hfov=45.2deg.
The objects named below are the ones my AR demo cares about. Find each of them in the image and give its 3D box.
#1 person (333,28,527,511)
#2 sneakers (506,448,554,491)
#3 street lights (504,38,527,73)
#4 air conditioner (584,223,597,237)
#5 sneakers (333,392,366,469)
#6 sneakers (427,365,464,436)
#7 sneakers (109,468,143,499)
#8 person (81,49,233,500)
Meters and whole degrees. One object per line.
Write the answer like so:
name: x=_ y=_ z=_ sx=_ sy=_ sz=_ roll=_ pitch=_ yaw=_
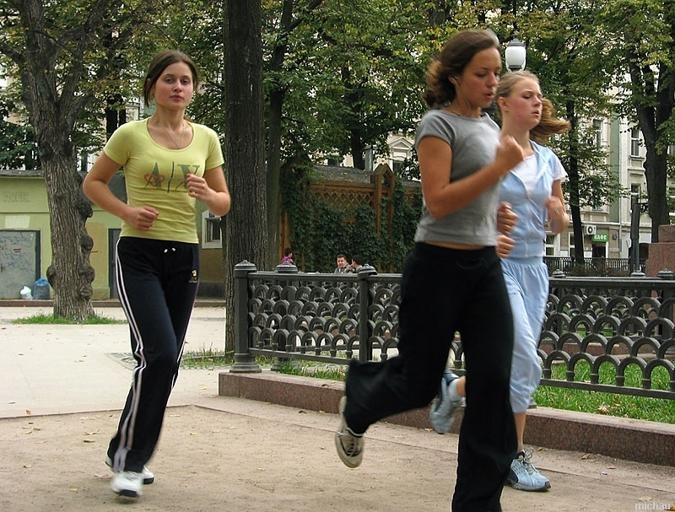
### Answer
person: x=0.473 y=0.061 z=3.916 sx=0.833 sy=2.336 sz=0.478 roll=0 pitch=0 yaw=12
sneakers: x=1.160 y=1.323 z=5.035 sx=0.179 sy=0.199 sz=0.470 roll=2 pitch=-5 yaw=-17
street lights: x=2.914 y=-3.265 z=13.327 sx=0.379 sy=0.590 sz=0.373 roll=-1 pitch=-5 yaw=-32
air conditioner: x=16.244 y=-1.746 z=52.080 sx=0.889 sy=0.768 sz=0.229 roll=1 pitch=5 yaw=-26
sneakers: x=0.049 y=0.952 z=4.366 sx=0.160 sy=0.401 sz=0.164 roll=-9 pitch=7 yaw=-19
sneakers: x=0.579 y=0.806 z=4.407 sx=0.139 sy=0.182 sz=0.423 roll=18 pitch=-30 yaw=5
sneakers: x=-1.194 y=1.289 z=4.619 sx=0.174 sy=0.144 sz=0.183 roll=0 pitch=0 yaw=-16
person: x=-1.055 y=0.068 z=4.749 sx=0.819 sy=2.579 sz=0.367 roll=0 pitch=0 yaw=-18
